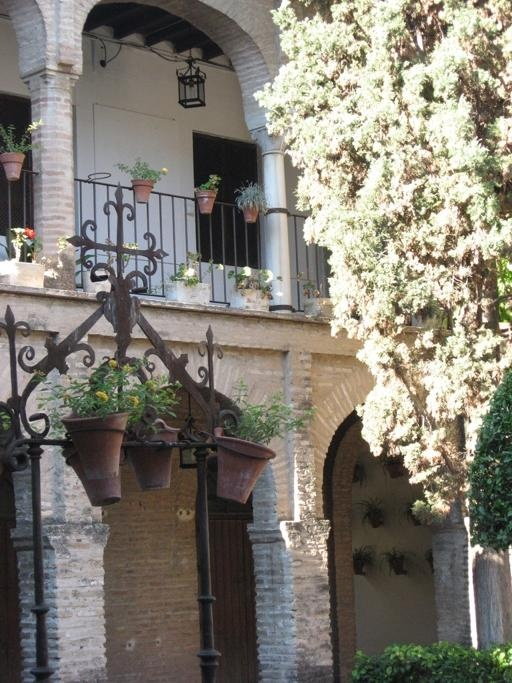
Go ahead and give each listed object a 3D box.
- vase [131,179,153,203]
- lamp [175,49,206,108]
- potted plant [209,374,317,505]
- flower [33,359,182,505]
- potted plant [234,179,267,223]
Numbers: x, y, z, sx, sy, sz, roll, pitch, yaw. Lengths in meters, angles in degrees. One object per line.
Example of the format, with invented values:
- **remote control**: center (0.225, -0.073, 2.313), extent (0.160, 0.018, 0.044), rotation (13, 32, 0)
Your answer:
- **vase**: center (-0.946, -1.277, 16.089), extent (0.171, 0.153, 0.185), rotation (1, -20, -6)
- **lamp**: center (-0.631, -2.629, 18.964), extent (0.297, 0.605, 0.713), rotation (0, -6, -1)
- **potted plant**: center (-0.038, 0.632, 12.836), extent (0.465, 0.864, 0.532), rotation (18, -3, 1)
- **flower**: center (-0.945, 0.581, 12.195), extent (0.483, 0.951, 0.747), rotation (-6, -8, 44)
- **potted plant**: center (-0.007, -1.315, 17.418), extent (0.361, 0.405, 0.357), rotation (-4, -8, 3)
